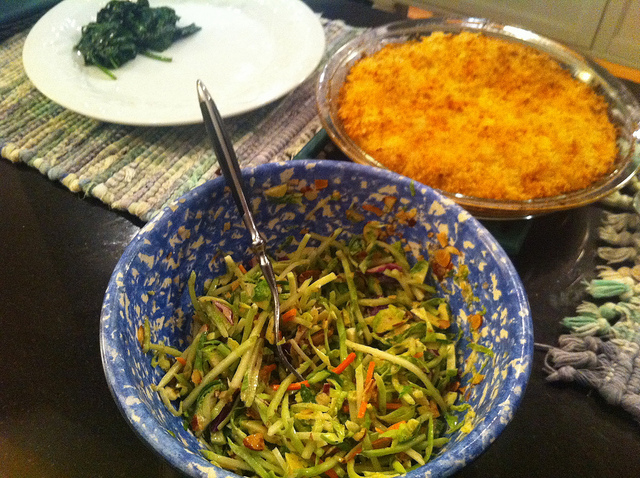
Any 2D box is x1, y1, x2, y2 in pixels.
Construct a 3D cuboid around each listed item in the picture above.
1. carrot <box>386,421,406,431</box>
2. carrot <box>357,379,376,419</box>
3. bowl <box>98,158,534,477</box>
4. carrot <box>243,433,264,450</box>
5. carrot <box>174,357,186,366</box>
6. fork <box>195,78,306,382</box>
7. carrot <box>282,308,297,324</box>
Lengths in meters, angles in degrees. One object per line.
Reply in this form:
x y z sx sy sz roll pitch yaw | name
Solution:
0.099 0.255 0.831 0.012 0.013 0.011 -15 97 25 | carrot
0.062 0.224 0.841 0.009 0.015 0.064 3 49 26 | carrot
-0.002 0.112 0.862 0.560 0.176 0.490 -11 65 -1 | bowl
-0.091 0.276 0.828 0.027 0.008 0.021 -2 65 3 | carrot
-0.202 0.175 0.875 0.006 0.023 0.005 -4 40 46 | carrot
-0.113 -0.002 0.966 0.055 0.031 0.550 -25 101 -35 | fork
-0.045 0.114 0.899 0.018 0.018 0.012 -36 93 -25 | carrot
